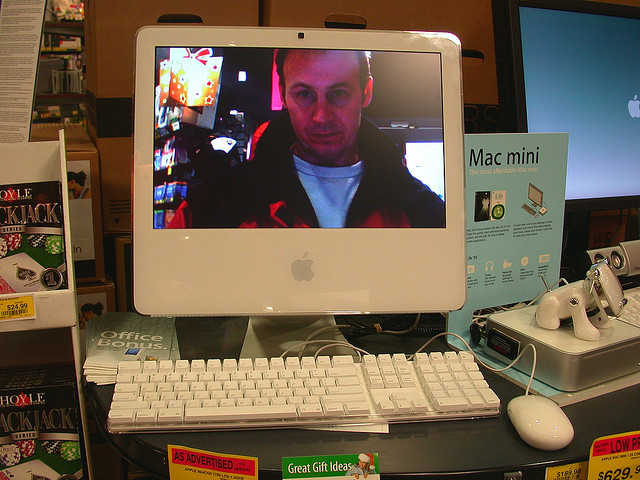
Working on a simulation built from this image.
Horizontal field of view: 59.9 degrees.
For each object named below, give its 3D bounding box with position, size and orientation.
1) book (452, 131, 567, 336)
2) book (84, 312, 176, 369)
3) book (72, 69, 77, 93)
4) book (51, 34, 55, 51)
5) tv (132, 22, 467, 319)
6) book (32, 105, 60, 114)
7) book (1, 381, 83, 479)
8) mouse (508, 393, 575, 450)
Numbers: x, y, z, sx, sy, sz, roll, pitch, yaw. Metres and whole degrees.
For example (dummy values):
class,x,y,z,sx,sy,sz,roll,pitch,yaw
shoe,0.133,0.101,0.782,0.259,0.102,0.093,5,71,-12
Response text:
class,x,y,z,sx,sy,sz,roll,pitch,yaw
book,0.425,-0.020,1.261,0.326,0.432,0.078,-8,12,-31
book,-0.385,0.196,1.168,0.174,0.231,0.031,6,47,-25
book,-1.495,-0.968,3.385,0.025,0.131,0.030,3,11,25
book,-1.590,-1.177,3.304,0.014,0.089,0.028,-7,11,-27
tv,-0.062,-0.129,1.143,0.558,0.514,0.043,1,-1,-6
book,-1.659,-0.792,3.359,0.058,0.052,0.143,8,15,44
book,-0.542,0.361,1.070,0.174,0.252,0.031,-1,-2,-9
mouse,0.397,0.319,0.995,0.093,0.045,0.137,-9,21,-9
